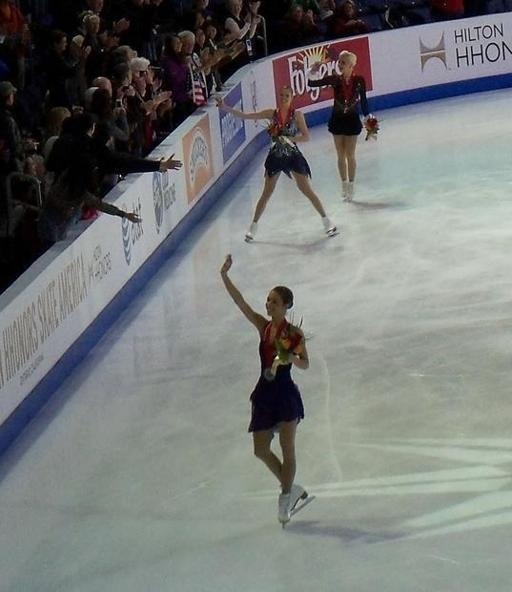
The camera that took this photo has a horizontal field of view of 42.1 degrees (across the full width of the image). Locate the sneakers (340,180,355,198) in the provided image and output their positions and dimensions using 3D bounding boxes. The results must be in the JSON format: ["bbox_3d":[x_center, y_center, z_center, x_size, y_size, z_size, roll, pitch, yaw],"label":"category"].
[{"bbox_3d":[1.276,-1.470,9.283,0.146,0.222,0.229,-2,12,6],"label":"sneakers"}]

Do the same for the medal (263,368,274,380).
[{"bbox_3d":[0.062,0.364,3.139,0.049,0.051,0.015,0,5,27],"label":"medal"}]

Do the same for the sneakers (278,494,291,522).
[{"bbox_3d":[0.141,1.085,3.419,0.055,0.161,0.067,-3,-2,44],"label":"sneakers"}]

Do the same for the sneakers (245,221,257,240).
[{"bbox_3d":[-0.070,-0.796,8.139,0.156,0.242,0.212,-9,17,-4],"label":"sneakers"}]

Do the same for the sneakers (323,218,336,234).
[{"bbox_3d":[0.874,-0.854,8.099,0.125,0.197,0.203,-31,12,-3],"label":"sneakers"}]

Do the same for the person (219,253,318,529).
[{"bbox_3d":[0.112,0.534,3.495,0.364,1.316,0.641,-9,17,-3],"label":"person"}]
